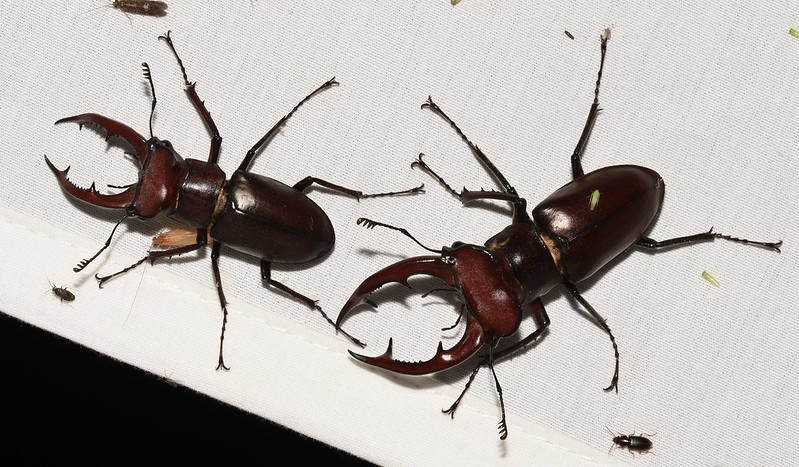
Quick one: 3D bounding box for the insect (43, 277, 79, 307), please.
[{"bbox_3d":[-2.407,0.427,5.505,0.217,0.150,0.060,32,-13,-2],"label":"insect"}]
